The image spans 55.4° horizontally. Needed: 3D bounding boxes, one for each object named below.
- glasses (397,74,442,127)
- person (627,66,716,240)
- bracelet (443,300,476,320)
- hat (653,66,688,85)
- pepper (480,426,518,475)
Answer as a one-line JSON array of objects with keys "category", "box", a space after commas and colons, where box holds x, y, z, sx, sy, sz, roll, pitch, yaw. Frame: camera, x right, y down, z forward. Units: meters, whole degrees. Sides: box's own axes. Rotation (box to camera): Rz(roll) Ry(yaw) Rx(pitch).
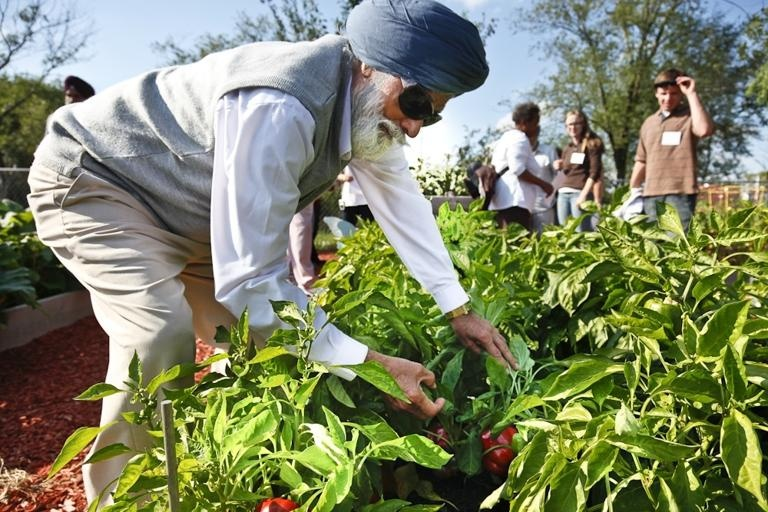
[{"category": "glasses", "box": [0.133, -0.574, 2.715, 0.039, 0.133, 0.131, -29, -18, 14]}, {"category": "person", "box": [2.277, -0.824, 5.746, 0.507, 1.242, 0.826, 5, 14, 17]}, {"category": "bracelet", "box": [0.282, 0.191, 2.740, 0.068, 0.028, 0.070, -30, -3, 17]}, {"category": "hat", "box": [2.246, -1.397, 5.692, 0.232, 0.087, 0.252, 9, 17, 33]}, {"category": "pepper", "box": [0.388, 0.664, 2.493, 0.116, 0.165, 0.139, 4, 13, 9]}]
